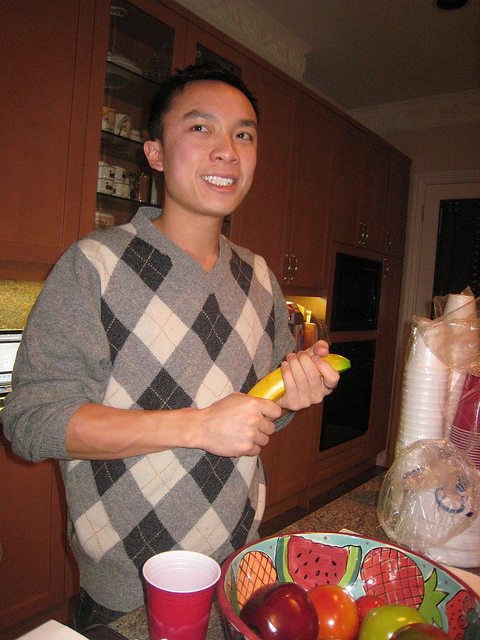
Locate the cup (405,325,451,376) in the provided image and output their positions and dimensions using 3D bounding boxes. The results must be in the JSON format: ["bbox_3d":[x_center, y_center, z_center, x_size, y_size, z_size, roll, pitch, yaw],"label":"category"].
[{"bbox_3d":[0.279,0.044,0.689,0.060,0.078,0.041,8,8,24],"label":"cup"}]

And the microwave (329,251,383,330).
[{"bbox_3d":[0.894,-0.162,3.173,0.276,0.480,0.532,2,5,-24],"label":"microwave"}]

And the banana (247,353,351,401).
[{"bbox_3d":[0.089,0.088,0.695,0.168,0.083,0.072,2,8,-20],"label":"banana"}]

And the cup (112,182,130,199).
[{"bbox_3d":[-0.433,-0.473,1.711,0.038,0.050,0.051,-3,2,-27],"label":"cup"}]

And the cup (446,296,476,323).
[{"bbox_3d":[0.326,-0.017,0.694,0.036,0.044,0.043,1,-7,-9],"label":"cup"}]

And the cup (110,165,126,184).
[{"bbox_3d":[-0.442,-0.527,1.704,0.045,0.049,0.047,1,4,0],"label":"cup"}]

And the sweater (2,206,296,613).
[{"bbox_3d":[-0.115,0.124,0.819,0.304,0.634,0.520,7,8,20],"label":"sweater"}]

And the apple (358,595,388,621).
[{"bbox_3d":[0.134,0.284,0.473,0.019,0.024,0.020,-27,-23,2],"label":"apple"}]
